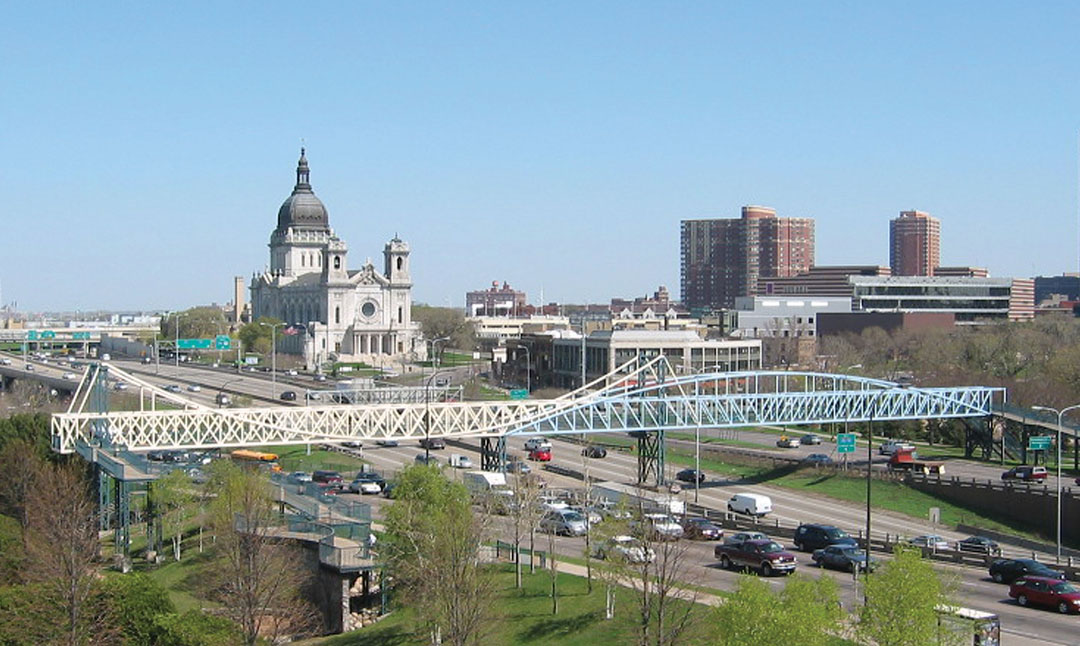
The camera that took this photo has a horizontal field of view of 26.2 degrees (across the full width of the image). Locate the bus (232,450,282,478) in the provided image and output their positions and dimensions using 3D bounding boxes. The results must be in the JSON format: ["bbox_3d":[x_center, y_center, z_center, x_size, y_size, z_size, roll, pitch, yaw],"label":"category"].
[{"bbox_3d":[-33.666,17.247,279.841,3.457,1.589,5.418,-2,5,-42],"label":"bus"}]

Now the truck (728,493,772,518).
[{"bbox_3d":[23.712,20.364,261.607,4.159,1.734,2.453,3,5,37],"label":"truck"}]
